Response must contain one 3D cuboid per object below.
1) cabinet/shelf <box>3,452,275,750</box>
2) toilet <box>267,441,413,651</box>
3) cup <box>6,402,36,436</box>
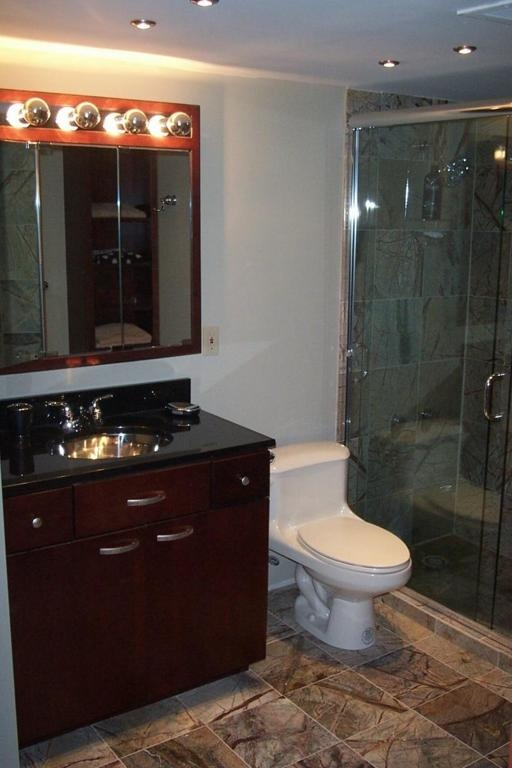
[{"bbox_3d":[-0.337,0.587,1.727,0.800,0.692,0.330,-6,10,-34],"label":"cabinet/shelf"},{"bbox_3d":[0.313,0.629,2.368,0.417,0.666,0.622,-6,11,-29],"label":"toilet"},{"bbox_3d":[-0.680,0.100,1.856,0.083,0.096,0.084,3,13,-1],"label":"cup"}]
